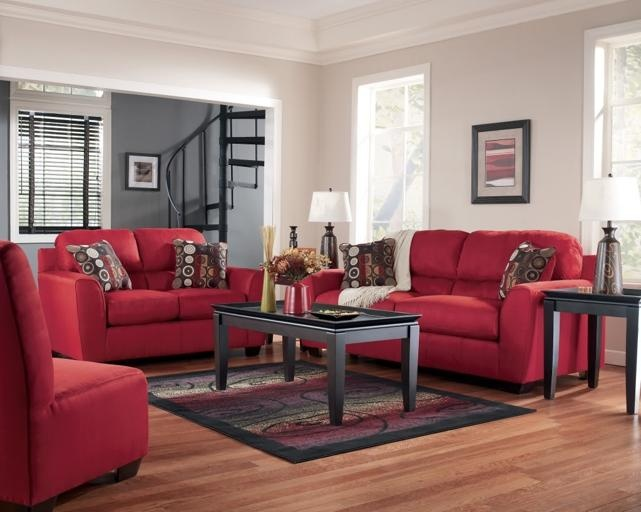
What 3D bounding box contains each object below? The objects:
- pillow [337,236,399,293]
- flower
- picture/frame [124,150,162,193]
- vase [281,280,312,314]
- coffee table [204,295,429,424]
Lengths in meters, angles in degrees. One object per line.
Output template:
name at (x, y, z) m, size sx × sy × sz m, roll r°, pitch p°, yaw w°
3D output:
pillow at (0.465, 0.100, 5.186) m, size 0.629 × 0.504 × 0.200 m, roll -3°, pitch -23°, yaw 13°
flower at (-0.189, 0.061, 3.698) m, size 0.397 × 0.200 × 0.373 m, roll 2°, pitch -2°, yaw -42°
picture/frame at (-2.769, -1.303, 8.330) m, size 0.797 × 0.789 × 0.058 m, roll 0°, pitch 0°, yaw -32°
vase at (-0.141, 0.281, 3.660) m, size 0.226 × 0.209 × 0.231 m, roll -4°, pitch -3°, yaw 35°
coffee table at (-0.095, 0.648, 3.625) m, size 0.795 × 0.568 × 1.303 m, roll 1°, pitch 0°, yaw -36°
